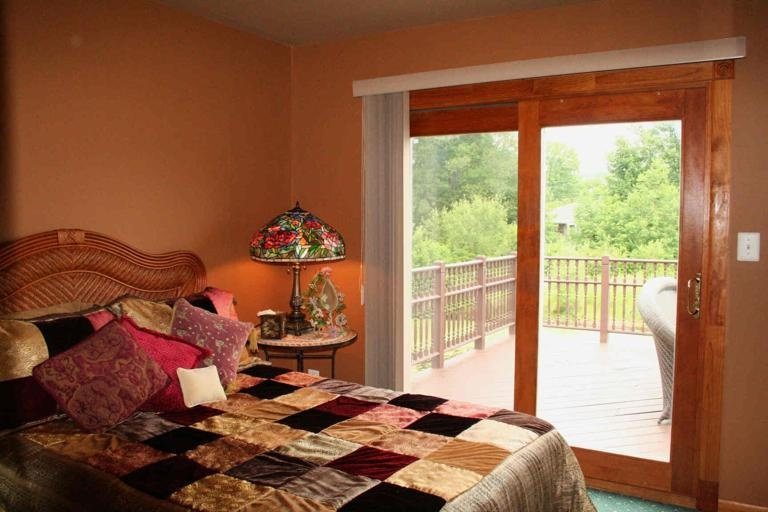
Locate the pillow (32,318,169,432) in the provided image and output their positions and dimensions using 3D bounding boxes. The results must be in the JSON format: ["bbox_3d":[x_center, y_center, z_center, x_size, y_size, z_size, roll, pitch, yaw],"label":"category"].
[{"bbox_3d":[-1.617,0.725,3.065,0.564,0.548,0.180,-39,-13,-17],"label":"pillow"}]

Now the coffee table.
[{"bbox_3d":[-0.543,0.841,4.351,0.448,0.278,0.436,9,-22,8],"label":"coffee table"}]

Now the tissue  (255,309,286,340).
[{"bbox_3d":[-0.929,0.530,4.389,0.273,0.255,0.204,0,0,16],"label":"tissue "}]

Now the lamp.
[{"bbox_3d":[-0.733,0.109,4.547,0.850,1.025,0.824,-2,4,-42],"label":"lamp"}]

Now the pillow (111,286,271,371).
[{"bbox_3d":[-1.358,0.514,3.821,0.924,0.248,0.869,25,6,15],"label":"pillow"}]
